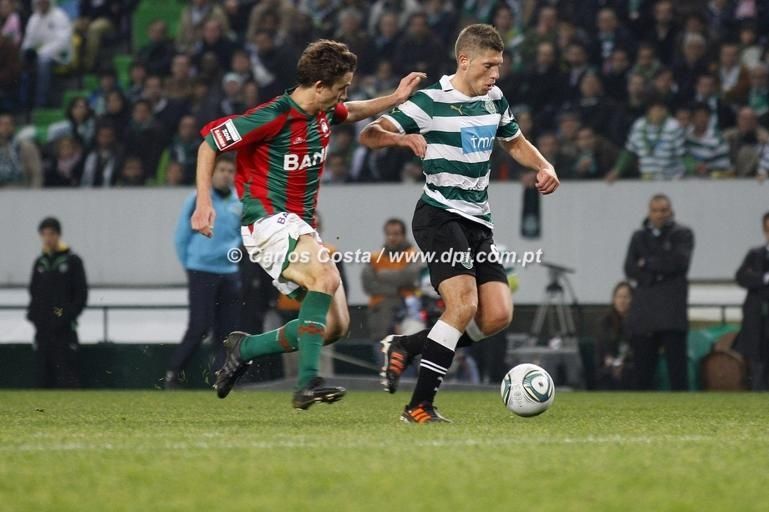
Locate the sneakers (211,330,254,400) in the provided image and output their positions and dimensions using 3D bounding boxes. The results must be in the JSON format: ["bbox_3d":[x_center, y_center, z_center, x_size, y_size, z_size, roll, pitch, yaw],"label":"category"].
[{"bbox_3d":[-1.302,0.937,13.547,0.281,0.645,0.237,41,20,21],"label":"sneakers"}]

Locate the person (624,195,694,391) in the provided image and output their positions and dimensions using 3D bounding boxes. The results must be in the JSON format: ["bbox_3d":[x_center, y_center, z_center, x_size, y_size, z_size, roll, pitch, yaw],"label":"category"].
[{"bbox_3d":[2.595,0.344,14.899,0.654,1.797,0.601,0,1,8],"label":"person"}]

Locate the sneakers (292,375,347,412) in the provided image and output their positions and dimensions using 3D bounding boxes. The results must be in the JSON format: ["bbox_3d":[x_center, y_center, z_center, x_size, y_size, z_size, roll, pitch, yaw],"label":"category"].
[{"bbox_3d":[-0.547,1.115,12.961,0.501,0.244,0.175,-14,-12,26],"label":"sneakers"}]

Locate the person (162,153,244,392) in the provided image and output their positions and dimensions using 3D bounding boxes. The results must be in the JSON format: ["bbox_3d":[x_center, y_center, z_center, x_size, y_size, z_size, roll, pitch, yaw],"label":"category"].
[{"bbox_3d":[-1.753,0.196,15.158,0.809,2.223,0.585,-1,-8,5],"label":"person"}]

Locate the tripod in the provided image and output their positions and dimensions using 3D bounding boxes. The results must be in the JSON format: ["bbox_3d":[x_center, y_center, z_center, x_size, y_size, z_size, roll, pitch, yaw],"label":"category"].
[{"bbox_3d":[1.714,0.494,15.934,0.394,0.892,0.351,7,-8,-11],"label":"tripod"}]

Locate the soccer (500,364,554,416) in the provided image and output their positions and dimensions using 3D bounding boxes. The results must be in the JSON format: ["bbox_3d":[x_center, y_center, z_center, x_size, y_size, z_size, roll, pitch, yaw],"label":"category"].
[{"bbox_3d":[1.174,1.167,13.470,0.464,0.429,0.447,-1,-1,8],"label":"soccer"}]

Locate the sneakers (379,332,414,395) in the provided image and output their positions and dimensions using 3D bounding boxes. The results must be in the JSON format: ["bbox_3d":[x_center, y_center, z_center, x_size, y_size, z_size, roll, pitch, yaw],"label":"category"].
[{"bbox_3d":[0.091,0.946,13.776,0.271,0.521,0.199,5,1,22],"label":"sneakers"}]

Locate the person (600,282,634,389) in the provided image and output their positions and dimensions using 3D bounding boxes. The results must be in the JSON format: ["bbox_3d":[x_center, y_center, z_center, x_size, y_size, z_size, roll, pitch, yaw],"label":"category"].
[{"bbox_3d":[2.232,0.774,15.237,0.294,0.981,0.304,9,-5,-9],"label":"person"}]

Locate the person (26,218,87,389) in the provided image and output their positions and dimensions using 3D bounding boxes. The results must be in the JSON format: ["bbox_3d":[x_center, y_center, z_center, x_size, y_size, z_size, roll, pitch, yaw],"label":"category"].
[{"bbox_3d":[-3.198,0.611,15.222,0.599,1.836,0.413,-1,0,27],"label":"person"}]
